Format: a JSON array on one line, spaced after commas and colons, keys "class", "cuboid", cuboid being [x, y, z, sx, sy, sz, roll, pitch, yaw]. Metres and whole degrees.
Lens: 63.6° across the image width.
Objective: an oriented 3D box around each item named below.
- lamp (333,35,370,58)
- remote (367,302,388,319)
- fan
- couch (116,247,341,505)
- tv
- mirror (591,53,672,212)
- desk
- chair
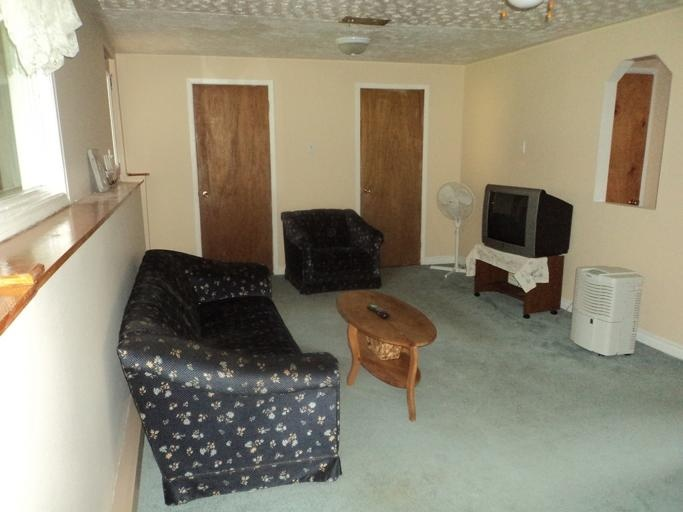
[{"class": "lamp", "cuboid": [0.102, -1.999, 5.181, 0.303, 0.174, 0.431, 0, 16, 1]}, {"class": "remote", "cuboid": [0.272, 0.404, 4.096, 0.064, 0.038, 0.194, -4, 18, -28]}, {"class": "fan", "cuboid": [1.366, -0.367, 6.954, 0.473, 1.209, 0.770, 2, 17, 10]}, {"class": "couch", "cuboid": [-0.860, 0.590, 3.775, 1.097, 1.012, 2.111, -6, 17, -18]}, {"class": "tv", "cuboid": [1.882, -0.391, 5.658, 0.478, 0.691, 0.809, -8, 18, -22]}, {"class": "mirror", "cuboid": [2.910, -1.159, 5.528, 0.552, 1.559, 1.783, 9, 19, 28]}, {"class": "desk", "cuboid": [1.799, 0.262, 5.749, 0.451, 0.522, 0.744, -8, 17, -24]}, {"class": "chair", "cuboid": [-0.144, -0.072, 6.435, 1.069, 0.890, 1.043, -2, 9, -17]}]
